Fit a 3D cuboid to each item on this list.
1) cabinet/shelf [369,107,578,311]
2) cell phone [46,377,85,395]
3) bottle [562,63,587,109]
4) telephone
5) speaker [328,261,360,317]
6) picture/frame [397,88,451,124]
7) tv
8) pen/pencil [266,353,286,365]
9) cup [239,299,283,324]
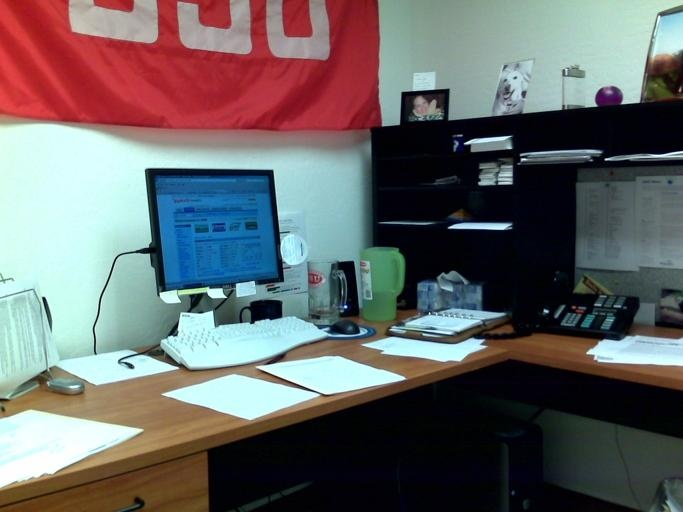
[{"bbox_3d":[0.572,-0.202,2.245,0.967,0.864,0.285,1,1,33],"label":"cabinet/shelf"},{"bbox_3d":[-0.769,0.358,1.455,0.085,0.028,0.046,0,1,8],"label":"cell phone"},{"bbox_3d":[0.901,-0.658,2.045,0.086,0.164,0.168,8,16,26],"label":"bottle"},{"bbox_3d":[0.872,0.191,1.999,0.389,0.152,0.429,-23,15,-19],"label":"telephone"},{"bbox_3d":[0.016,0.132,2.231,0.143,0.229,0.223,-4,11,16],"label":"speaker"},{"bbox_3d":[0.369,-0.662,2.315,0.288,0.192,0.028,-2,-9,25],"label":"picture/frame"},{"bbox_3d":[-0.476,-0.088,1.891,0.492,0.400,0.092,-7,2,-33],"label":"tv"},{"bbox_3d":[-0.210,0.329,1.691,0.018,0.009,0.078,41,33,26],"label":"pen/pencil"},{"bbox_3d":[-0.312,0.211,2.045,0.155,0.101,0.095,-2,2,-4],"label":"cup"}]
